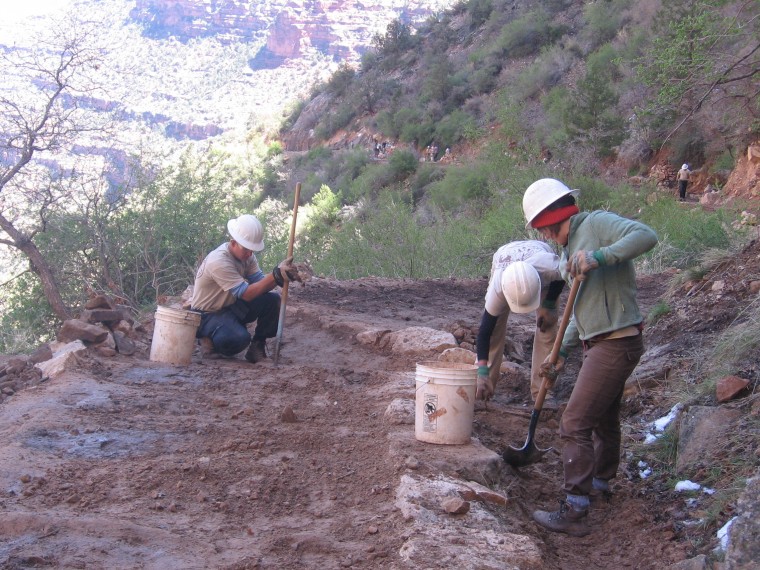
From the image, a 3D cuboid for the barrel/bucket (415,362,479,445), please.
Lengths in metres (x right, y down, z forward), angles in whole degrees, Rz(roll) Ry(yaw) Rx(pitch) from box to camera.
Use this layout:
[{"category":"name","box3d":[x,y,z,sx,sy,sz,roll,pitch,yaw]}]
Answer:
[{"category":"barrel/bucket","box3d":[0.634,1.125,7.385,0.642,0.728,0.663,1,-4,0]}]

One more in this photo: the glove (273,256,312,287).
[{"category":"glove","box3d":[-1.151,-0.185,9.805,0.578,0.435,0.807,-5,1,-18]}]

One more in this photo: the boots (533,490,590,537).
[{"category":"boots","box3d":[1.662,2.022,6.846,0.574,0.466,0.254,10,0,16]}]

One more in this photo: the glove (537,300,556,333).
[{"category":"glove","box3d":[1.742,0.325,7.867,0.105,0.288,0.209,2,-28,9]}]

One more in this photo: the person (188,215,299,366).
[{"category":"person","box3d":[-1.749,0.087,9.756,1.343,2.027,1.074,5,17,1]}]

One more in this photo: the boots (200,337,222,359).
[{"category":"boots","box3d":[-2.214,0.826,9.926,0.203,0.288,0.103,-30,-3,24]}]

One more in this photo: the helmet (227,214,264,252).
[{"category":"helmet","box3d":[-1.682,-0.647,9.540,0.408,0.456,0.437,-1,7,-6]}]

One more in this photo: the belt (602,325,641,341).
[{"category":"belt","box3d":[2.139,0.418,6.599,0.170,0.101,0.147,-12,-3,34]}]

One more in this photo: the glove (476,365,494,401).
[{"category":"glove","box3d":[1.044,0.950,7.366,0.194,0.312,0.082,0,3,-37]}]

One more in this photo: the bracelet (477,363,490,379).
[{"category":"bracelet","box3d":[1.016,0.832,7.351,0.109,0.123,0.118,0,-2,-3]}]

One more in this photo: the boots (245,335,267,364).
[{"category":"boots","box3d":[-1.533,0.856,9.826,0.341,0.384,0.177,1,-3,2]}]

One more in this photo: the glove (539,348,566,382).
[{"category":"glove","box3d":[1.607,0.764,6.952,0.111,0.277,0.200,29,14,-20]}]

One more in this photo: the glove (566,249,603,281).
[{"category":"glove","box3d":[1.752,-0.191,6.495,0.080,0.251,0.186,37,2,-42]}]

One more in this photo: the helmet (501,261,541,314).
[{"category":"helmet","box3d":[1.389,0.043,7.277,0.313,0.497,0.257,-10,-9,12]}]
